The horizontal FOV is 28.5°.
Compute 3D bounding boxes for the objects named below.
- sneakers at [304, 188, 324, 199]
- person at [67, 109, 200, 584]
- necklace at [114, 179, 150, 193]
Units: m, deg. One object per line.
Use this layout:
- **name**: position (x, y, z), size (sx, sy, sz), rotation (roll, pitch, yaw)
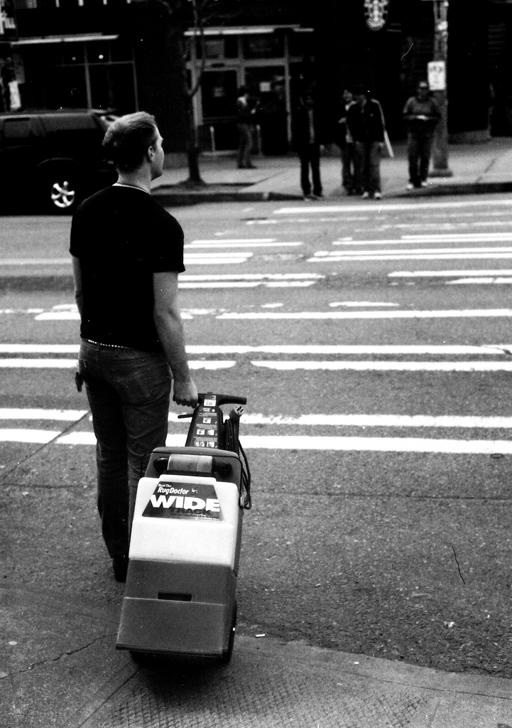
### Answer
- **sneakers**: position (0.998, -2.982, 17.615), size (0.368, 0.187, 0.136), rotation (-3, 13, -13)
- **person**: position (-0.479, 0.013, 3.879), size (0.359, 1.906, 0.565), rotation (-7, 14, -23)
- **necklace**: position (-0.464, -0.675, 3.749), size (0.130, 0.072, 0.212), rotation (-4, 14, -8)
